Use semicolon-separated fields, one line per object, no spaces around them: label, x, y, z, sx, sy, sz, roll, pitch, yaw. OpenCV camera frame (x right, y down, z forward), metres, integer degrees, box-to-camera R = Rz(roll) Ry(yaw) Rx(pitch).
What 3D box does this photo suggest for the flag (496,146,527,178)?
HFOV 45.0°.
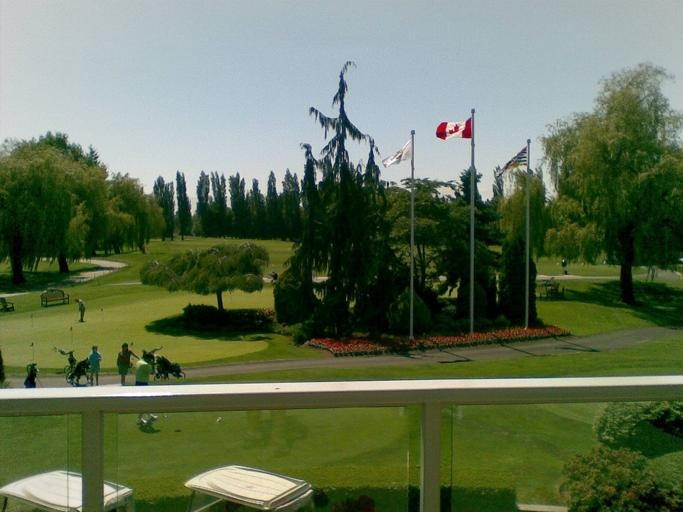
flag;16.569;-9.296;78.339;2.258;2.337;1.861;8;14;42
